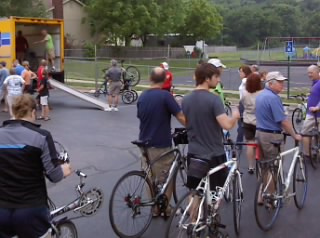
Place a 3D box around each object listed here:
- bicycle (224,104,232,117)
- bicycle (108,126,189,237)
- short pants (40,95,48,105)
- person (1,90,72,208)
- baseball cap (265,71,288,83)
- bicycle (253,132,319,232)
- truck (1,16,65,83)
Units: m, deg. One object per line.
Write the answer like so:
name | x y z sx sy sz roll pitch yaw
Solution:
bicycle | 2.358 -0.322 13.488 0.216 0.491 1.011 1 7 9
bicycle | -0.113 1.009 5.868 0.859 1.112 1.778 3 7 32
short pants | -4.083 -0.648 13.883 0.367 0.449 0.258 0 -5 -7
person | -1.288 0.330 4.002 0.640 1.133 0.365 -2 7 -16
baseball cap | 1.909 -0.688 6.410 0.313 0.179 0.373 2 8 18
bicycle | 1.842 0.988 6.161 0.790 1.030 1.643 2 6 32
truck | -6.523 -3.504 19.000 2.363 2.913 4.504 -3 10 -36
